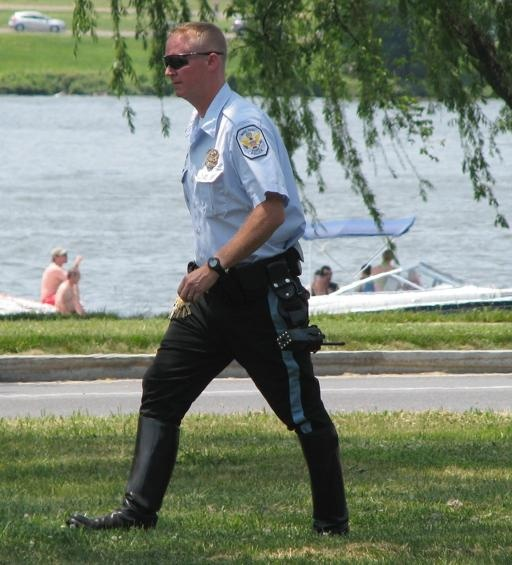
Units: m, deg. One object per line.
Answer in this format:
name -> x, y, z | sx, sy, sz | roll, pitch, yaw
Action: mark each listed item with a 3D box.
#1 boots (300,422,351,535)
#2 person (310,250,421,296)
boots -> 0.503, 1.473, 12.542 | 0.250, 0.914, 0.285 | -7, 13, 7
person -> 1.906, -0.029, 27.718 | 1.114, 0.533, 0.935 | -9, 8, 3
